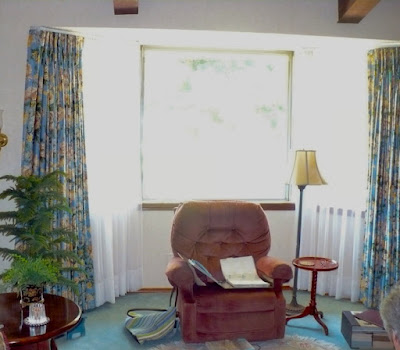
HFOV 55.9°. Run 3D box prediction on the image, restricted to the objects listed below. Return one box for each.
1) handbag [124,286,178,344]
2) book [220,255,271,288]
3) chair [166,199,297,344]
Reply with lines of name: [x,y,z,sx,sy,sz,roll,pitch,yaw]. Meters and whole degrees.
handbag: [-0.463,1.149,3.199,0.344,0.367,0.248,16,5,7]
book: [0.363,0.797,3.218,0.236,0.158,0.247,1,-3,-12]
chair: [0.225,0.828,3.500,1.108,1.196,1.039,0,-3,-5]
